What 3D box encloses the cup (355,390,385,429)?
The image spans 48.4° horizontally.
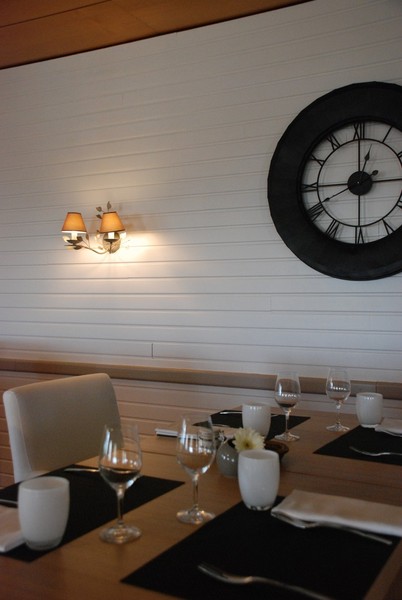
[{"bbox_3d":[0.546,0.358,1.461,0.094,0.112,0.095,-1,-5,0],"label":"cup"}]

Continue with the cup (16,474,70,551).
[{"bbox_3d":[-0.229,0.301,0.645,0.078,0.092,0.081,3,1,0],"label":"cup"}]

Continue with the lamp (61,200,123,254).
[{"bbox_3d":[-0.749,-0.507,3.209,0.458,0.373,0.258,1,9,16],"label":"lamp"}]

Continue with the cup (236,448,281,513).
[{"bbox_3d":[0.100,0.309,0.771,0.068,0.080,0.072,-1,10,0],"label":"cup"}]

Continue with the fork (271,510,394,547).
[{"bbox_3d":[0.188,0.336,0.665,0.180,0.012,0.034,-2,-5,26],"label":"fork"}]
